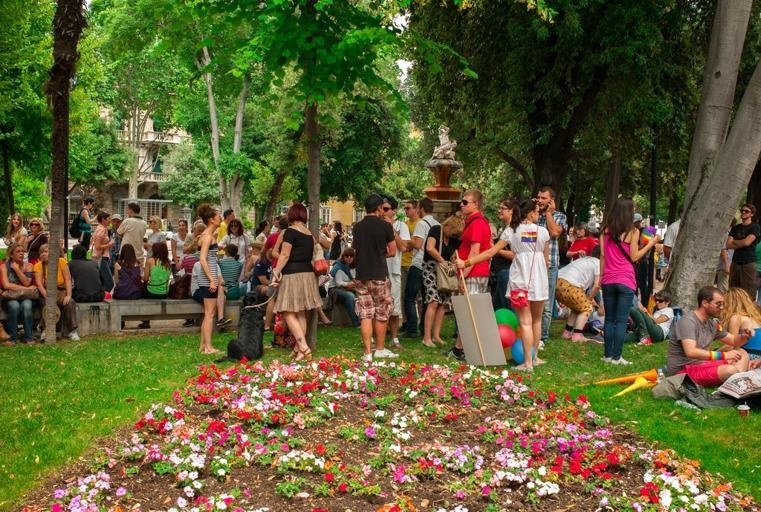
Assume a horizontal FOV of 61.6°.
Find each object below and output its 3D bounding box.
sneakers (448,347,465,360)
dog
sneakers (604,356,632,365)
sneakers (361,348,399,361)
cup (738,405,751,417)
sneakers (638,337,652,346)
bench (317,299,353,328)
[{"bbox_3d":[1.430,1.813,11.812,0.367,0.171,0.136,10,-6,-8],"label":"sneakers"},{"bbox_3d":[-2.471,1.355,11.713,0.616,0.886,1.776,2,40,8],"label":"dog"},{"bbox_3d":[4.313,1.909,11.604,0.504,0.204,0.174,-1,1,2],"label":"sneakers"},{"bbox_3d":[0.003,1.738,11.327,0.605,0.264,0.219,-3,0,-4],"label":"sneakers"},{"bbox_3d":[5.397,2.267,9.384,0.147,0.132,0.147,0,6,0],"label":"cup"},{"bbox_3d":[5.524,1.758,13.180,0.368,0.158,0.127,8,-10,-28],"label":"sneakers"},{"bbox_3d":[-1.076,1.321,14.751,0.627,0.392,0.626,1,-1,-22],"label":"bench"}]
